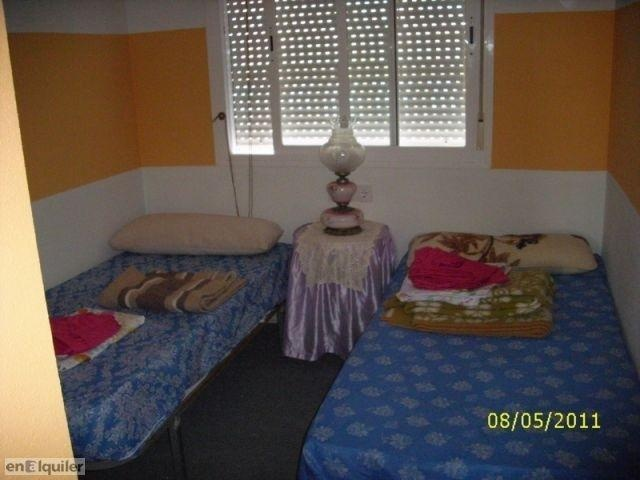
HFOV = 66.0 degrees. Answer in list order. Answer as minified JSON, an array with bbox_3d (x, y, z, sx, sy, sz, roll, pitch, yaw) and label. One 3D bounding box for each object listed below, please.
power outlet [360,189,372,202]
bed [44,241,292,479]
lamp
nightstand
[{"bbox_3d":[0.299,-0.297,3.254,0.079,0.081,0.029,5,7,11],"label":"power outlet"},{"bbox_3d":[-0.666,0.483,2.279,0.649,0.277,1.139,2,20,11],"label":"bed"},{"bbox_3d":[0.127,-0.354,2.801,0.248,0.618,0.205,0,15,4],"label":"lamp"},{"bbox_3d":[0.040,0.275,2.972,0.573,0.718,0.721,2,10,-4],"label":"nightstand"}]
